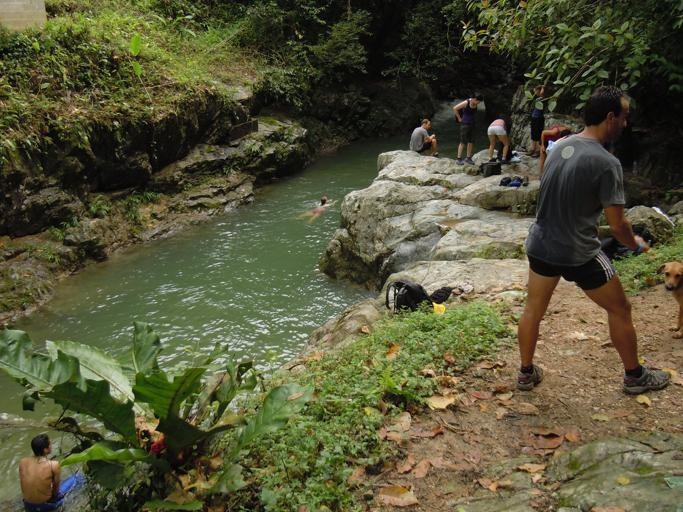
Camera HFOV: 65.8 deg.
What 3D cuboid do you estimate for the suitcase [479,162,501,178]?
[{"bbox_3d":[3.892,-2.258,13.896,0.595,0.382,0.443,-2,15,10],"label":"suitcase"}]

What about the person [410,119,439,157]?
[{"bbox_3d":[2.614,-3.841,17.113,0.748,1.205,1.650,-6,25,7],"label":"person"}]

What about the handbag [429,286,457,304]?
[{"bbox_3d":[1.544,0.594,8.022,0.382,0.088,0.247,-26,41,-20],"label":"handbag"}]

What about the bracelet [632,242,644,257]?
[{"bbox_3d":[3.687,-0.074,6.557,0.267,0.122,0.050,-20,54,-24],"label":"bracelet"}]

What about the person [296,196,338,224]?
[{"bbox_3d":[-0.786,-1.495,17.071,0.757,0.387,1.195,20,22,14],"label":"person"}]

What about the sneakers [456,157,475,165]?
[{"bbox_3d":[3.537,-2.680,15.009,0.659,0.223,0.195,0,21,-9],"label":"sneakers"}]

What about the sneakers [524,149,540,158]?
[{"bbox_3d":[5.621,-3.002,15.557,0.258,0.247,0.621,-6,24,-7],"label":"sneakers"}]

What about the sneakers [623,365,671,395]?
[{"bbox_3d":[3.202,1.315,5.651,0.606,0.236,0.228,-9,15,-3],"label":"sneakers"}]

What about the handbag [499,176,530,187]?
[{"bbox_3d":[4.059,-1.712,12.293,0.523,0.144,0.359,1,10,3],"label":"handbag"}]

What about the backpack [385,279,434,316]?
[{"bbox_3d":[1.004,0.598,7.767,0.524,0.409,0.350,-13,17,-27],"label":"backpack"}]
